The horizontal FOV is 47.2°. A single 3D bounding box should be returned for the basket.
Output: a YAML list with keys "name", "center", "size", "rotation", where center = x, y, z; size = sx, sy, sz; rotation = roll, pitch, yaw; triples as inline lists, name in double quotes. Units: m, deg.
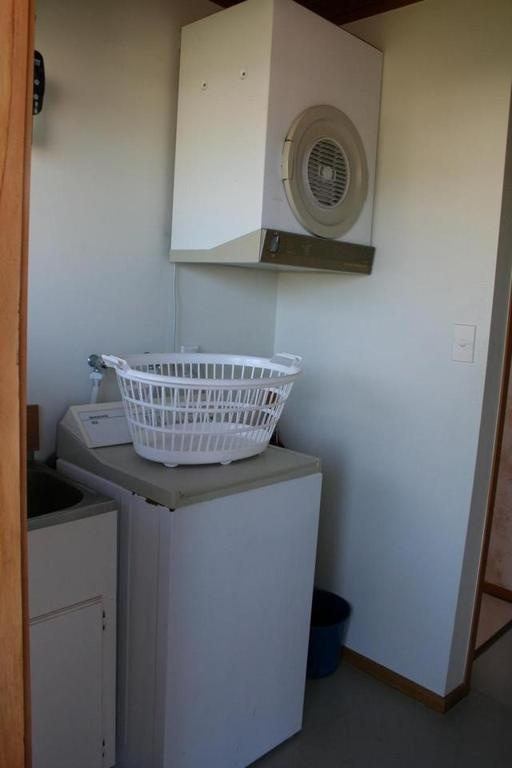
- name: "basket"
  center: [-0.139, 0.071, 1.581]
  size: [0.402, 0.244, 0.350]
  rotation: [-3, 8, -34]

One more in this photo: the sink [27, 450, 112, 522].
- name: "sink"
  center: [-0.496, 0.205, 1.485]
  size: [0.120, 0.181, 0.226]
  rotation: [-2, 12, -42]
